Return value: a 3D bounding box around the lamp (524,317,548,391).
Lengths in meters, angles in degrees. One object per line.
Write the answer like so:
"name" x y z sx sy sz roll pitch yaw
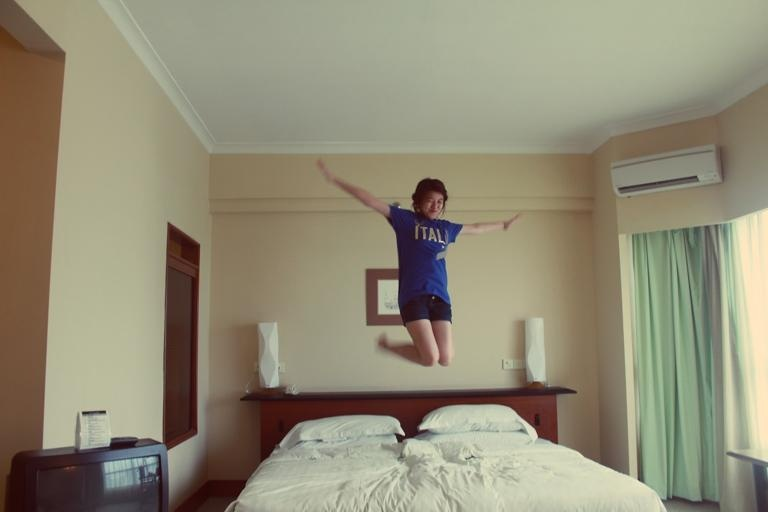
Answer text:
"lamp" 1.514 0.959 5.397 0.226 0.635 0.215 4 -15 -7
